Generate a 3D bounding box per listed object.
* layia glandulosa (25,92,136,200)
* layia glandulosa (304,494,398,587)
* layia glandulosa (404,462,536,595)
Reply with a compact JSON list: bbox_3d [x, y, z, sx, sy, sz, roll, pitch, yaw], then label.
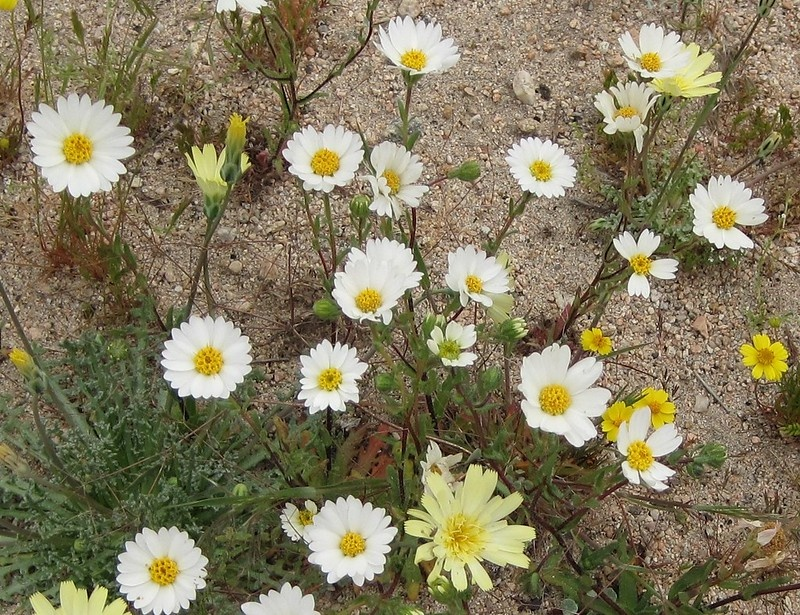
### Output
[{"bbox_3d":[-1.105,-0.582,2.617,0.313,0.346,0.134,-28,74,17],"label":"layia glandulosa"},{"bbox_3d":[-0.160,0.762,2.473,0.289,0.177,0.228,3,49,-8],"label":"layia glandulosa"},{"bbox_3d":[0.188,0.709,2.409,0.388,0.433,0.210,4,88,-4],"label":"layia glandulosa"}]
